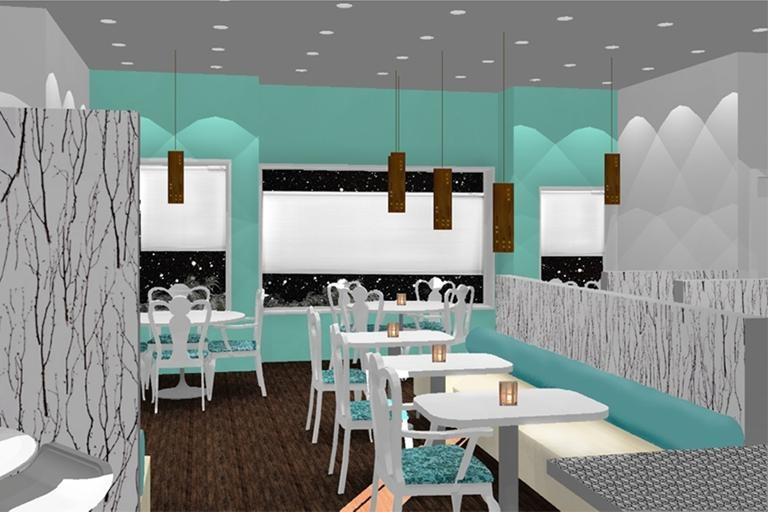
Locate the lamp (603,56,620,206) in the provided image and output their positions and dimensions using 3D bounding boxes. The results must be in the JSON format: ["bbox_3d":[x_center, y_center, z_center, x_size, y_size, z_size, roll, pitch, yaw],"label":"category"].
[{"bbox_3d":[2.379,-1.279,5.862,0.230,1.472,0.239,-8,17,-1],"label":"lamp"}]

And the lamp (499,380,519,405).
[{"bbox_3d":[0.707,0.795,3.283,0.121,0.178,0.127,0,-4,-3],"label":"lamp"}]
